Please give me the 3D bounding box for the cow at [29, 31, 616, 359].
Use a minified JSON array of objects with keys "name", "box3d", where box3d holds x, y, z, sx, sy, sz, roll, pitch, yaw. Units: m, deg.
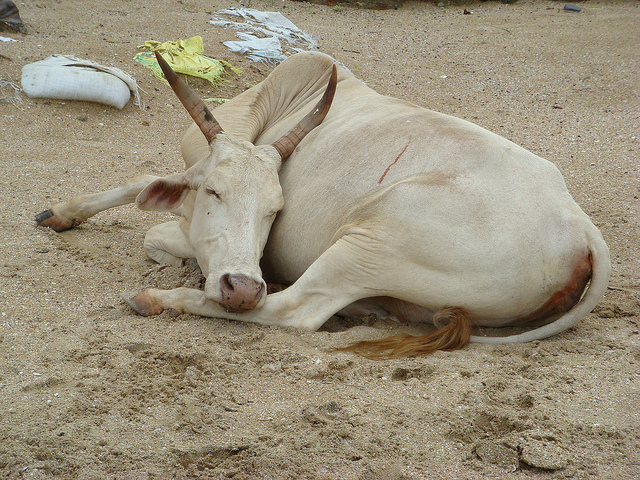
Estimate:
[{"name":"cow","box3d":[0.030,-0.791,9.388,3.848,1.688,4.118,-2,14,-25]}]
